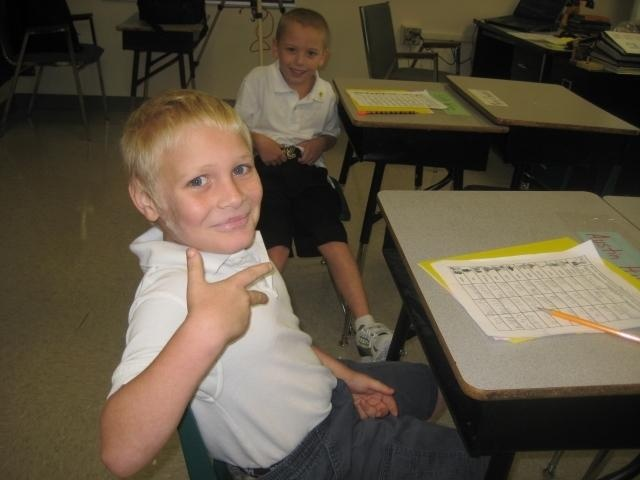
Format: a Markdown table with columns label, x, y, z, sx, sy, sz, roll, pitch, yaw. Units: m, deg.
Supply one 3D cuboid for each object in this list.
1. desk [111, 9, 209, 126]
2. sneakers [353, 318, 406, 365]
| label | x | y | z | sx | sy | sz | roll | pitch | yaw |
| --- | --- | --- | --- | --- | --- | --- | --- | --- | --- |
| desk | -1.417 | -1.556 | 4.546 | 0.738 | 0.672 | 0.753 | -7 | 25 | -24 |
| sneakers | 0.236 | 0.396 | 2.046 | 0.153 | 0.083 | 0.188 | -42 | 36 | -15 |
